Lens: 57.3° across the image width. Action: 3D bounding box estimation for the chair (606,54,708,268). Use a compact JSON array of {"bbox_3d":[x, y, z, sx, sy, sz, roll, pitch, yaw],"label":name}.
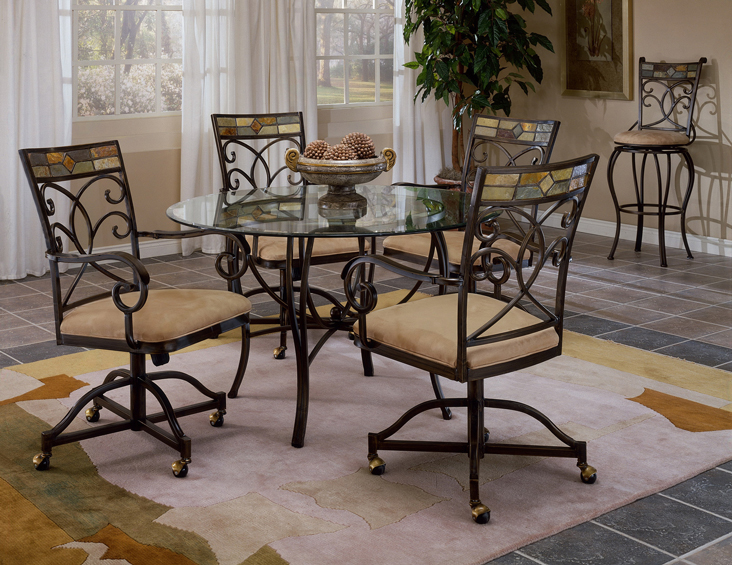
[{"bbox_3d":[2.308,-1.013,5.334,0.700,1.569,0.956,5,16,18],"label":"chair"}]
